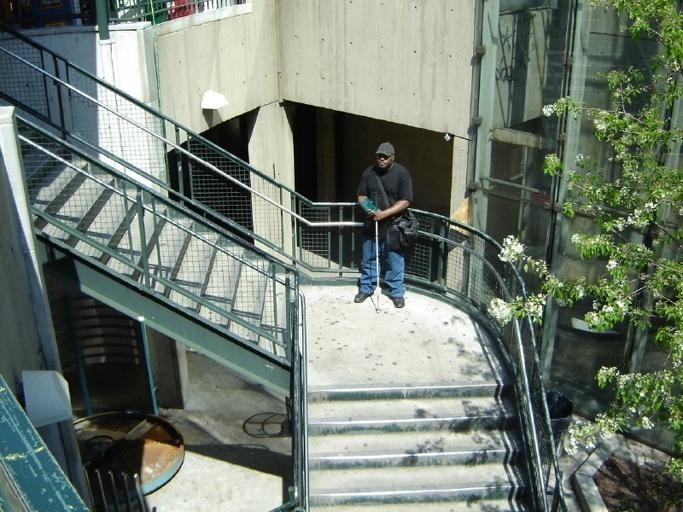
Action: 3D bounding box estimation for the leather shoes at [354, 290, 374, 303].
[{"bbox_3d":[0.341,0.577,9.941,0.325,0.154,0.120,-24,45,-28],"label":"leather shoes"}]

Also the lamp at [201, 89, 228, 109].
[{"bbox_3d":[-2.256,-2.773,12.047,0.336,0.400,0.100,2,-25,-11],"label":"lamp"}]

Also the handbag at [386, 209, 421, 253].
[{"bbox_3d":[0.790,-0.372,9.353,0.578,0.732,0.442,1,4,-11],"label":"handbag"}]

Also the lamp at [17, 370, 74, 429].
[{"bbox_3d":[-2.738,1.294,6.338,0.394,0.440,0.540,-6,12,-27],"label":"lamp"}]
